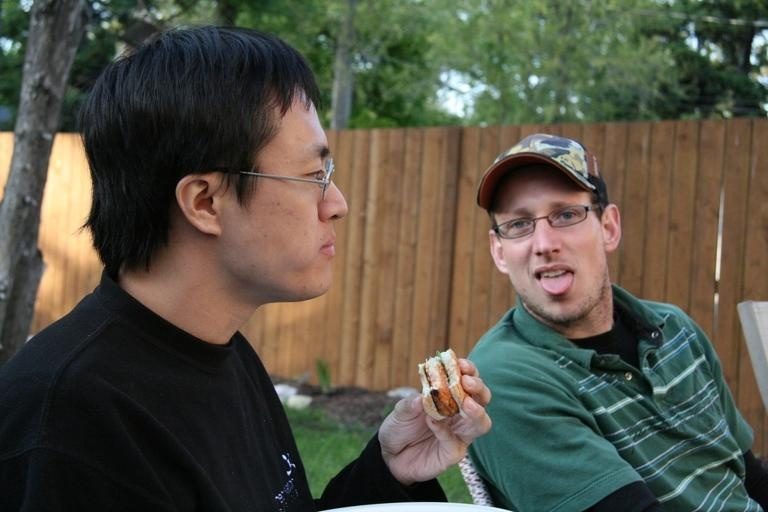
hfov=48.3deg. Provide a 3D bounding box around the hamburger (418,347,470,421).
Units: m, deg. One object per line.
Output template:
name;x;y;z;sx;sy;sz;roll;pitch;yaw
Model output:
hamburger;0.278;0.593;4.162;0.212;0.343;0.270;2;5;17
